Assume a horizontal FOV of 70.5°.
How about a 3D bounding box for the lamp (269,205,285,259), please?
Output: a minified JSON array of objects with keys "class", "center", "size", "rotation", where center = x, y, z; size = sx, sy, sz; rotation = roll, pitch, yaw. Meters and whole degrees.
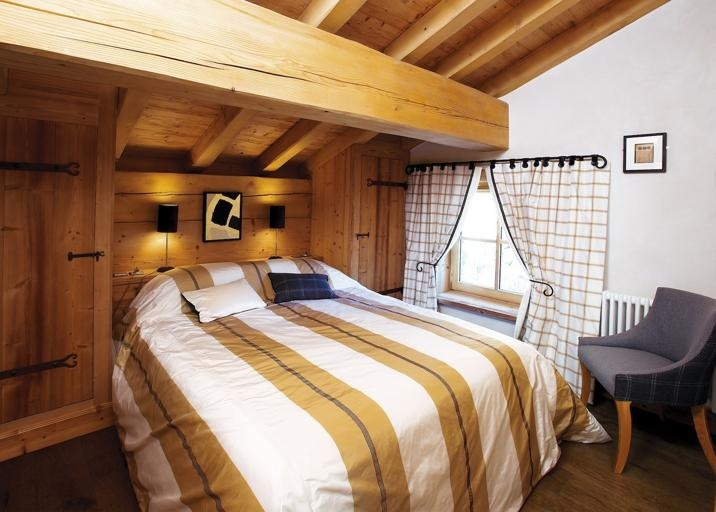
[{"class":"lamp","center":[-0.796,-0.254,5.169],"size":[0.148,0.526,0.244],"rotation":[8,8,35]}]
